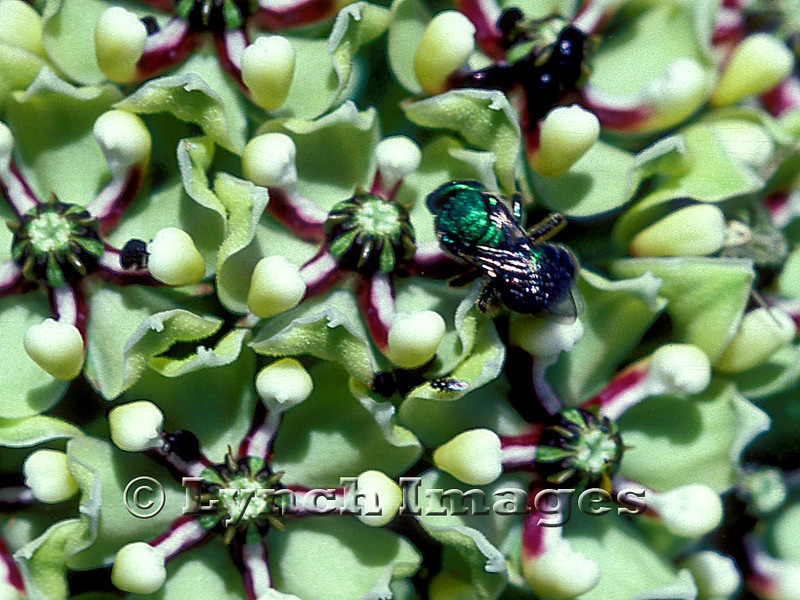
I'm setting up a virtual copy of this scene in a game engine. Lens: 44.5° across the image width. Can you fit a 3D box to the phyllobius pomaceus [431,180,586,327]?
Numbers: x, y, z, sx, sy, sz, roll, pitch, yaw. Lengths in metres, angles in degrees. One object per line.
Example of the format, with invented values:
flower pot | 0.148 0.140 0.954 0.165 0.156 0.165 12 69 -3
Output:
phyllobius pomaceus | 0.184 -0.082 1.907 0.291 0.098 0.215 35 78 10
